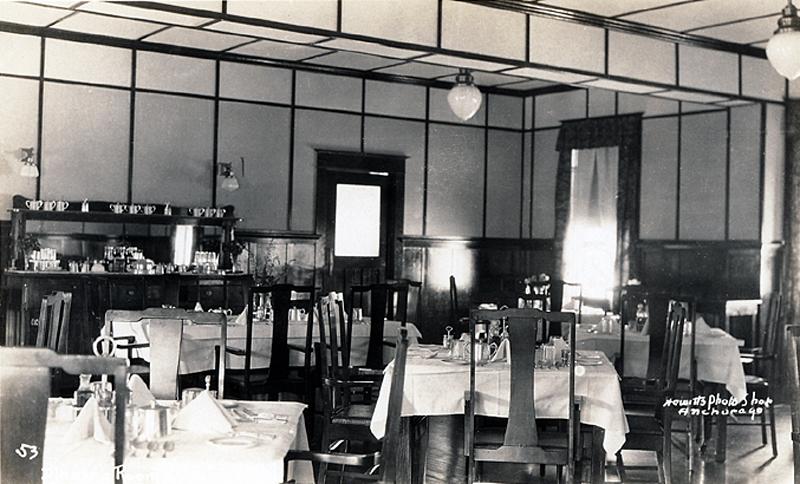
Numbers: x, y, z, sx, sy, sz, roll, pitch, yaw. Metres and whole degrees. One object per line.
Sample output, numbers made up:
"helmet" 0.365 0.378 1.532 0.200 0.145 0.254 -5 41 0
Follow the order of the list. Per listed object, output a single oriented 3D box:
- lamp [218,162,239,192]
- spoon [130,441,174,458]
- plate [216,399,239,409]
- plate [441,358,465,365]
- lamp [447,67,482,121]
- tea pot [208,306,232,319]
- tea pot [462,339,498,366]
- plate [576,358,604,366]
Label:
"lamp" -2.558 -0.973 14.997 0.371 0.457 0.336 1 2 -13
"spoon" -2.230 1.842 9.081 0.381 0.149 0.086 3 -2 -6
"plate" -1.636 1.541 9.669 0.212 0.071 0.156 4 -3 -28
"plate" 0.588 1.272 10.799 0.276 0.065 0.223 2 -3 19
"lamp" 0.821 -1.930 13.128 0.374 0.653 0.414 3 -2 -3
"tea pot" -2.204 0.859 12.358 0.263 0.180 0.167 4 -6 -28
"tea pot" 0.833 1.161 10.615 0.379 0.256 0.833 2 -3 5
"plate" 2.028 1.290 10.876 0.327 0.017 0.099 5 22 -11
